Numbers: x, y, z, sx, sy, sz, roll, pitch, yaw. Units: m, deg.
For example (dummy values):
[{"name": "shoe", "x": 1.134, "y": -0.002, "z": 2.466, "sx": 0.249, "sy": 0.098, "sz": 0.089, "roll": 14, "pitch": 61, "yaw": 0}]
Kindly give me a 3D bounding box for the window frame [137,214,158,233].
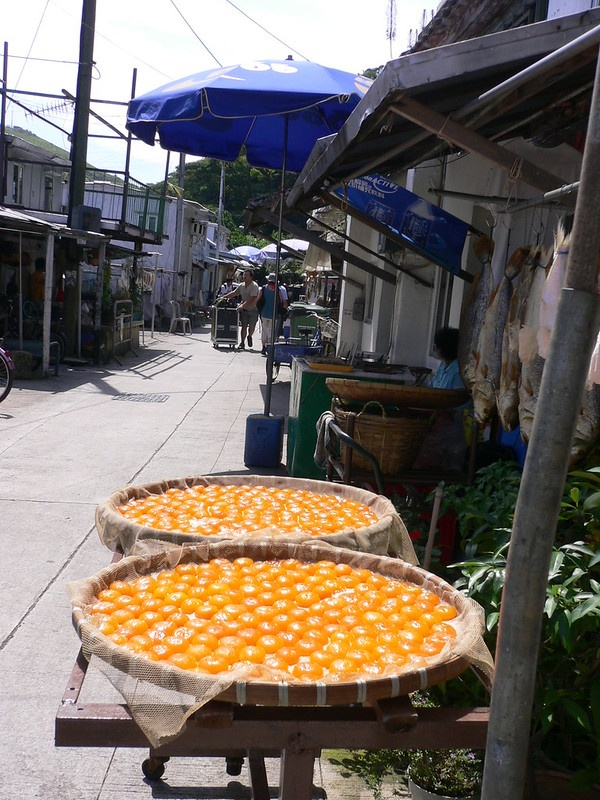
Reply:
[{"name": "window frame", "x": -4.909, "y": -5.771, "z": 20.797, "sx": 0.543, "sy": 0.726, "sz": 1.302, "roll": 3, "pitch": 4, "yaw": -11}]
